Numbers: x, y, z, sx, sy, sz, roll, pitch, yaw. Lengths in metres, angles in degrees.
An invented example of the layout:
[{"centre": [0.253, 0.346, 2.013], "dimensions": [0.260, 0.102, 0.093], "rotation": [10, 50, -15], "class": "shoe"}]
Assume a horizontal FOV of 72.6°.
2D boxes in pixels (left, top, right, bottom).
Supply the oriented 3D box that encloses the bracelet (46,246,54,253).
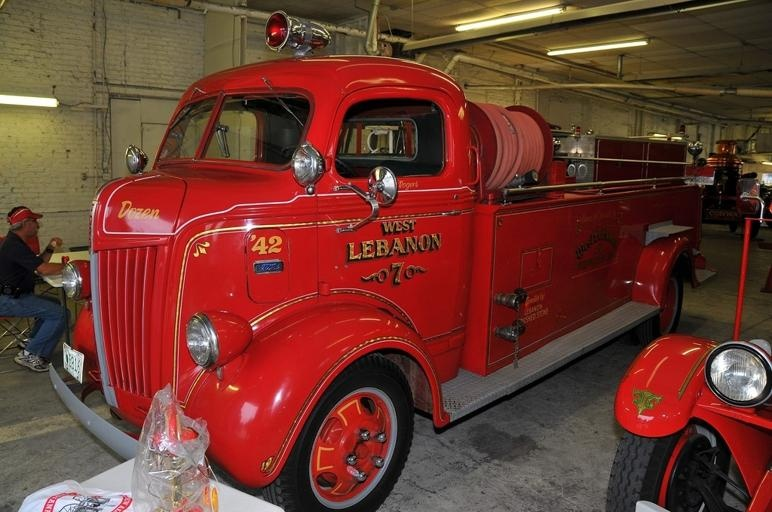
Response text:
[{"centre": [-4.338, -0.078, 6.784], "dimensions": [0.084, 0.052, 0.090], "rotation": [4, -2, -15], "class": "bracelet"}]
